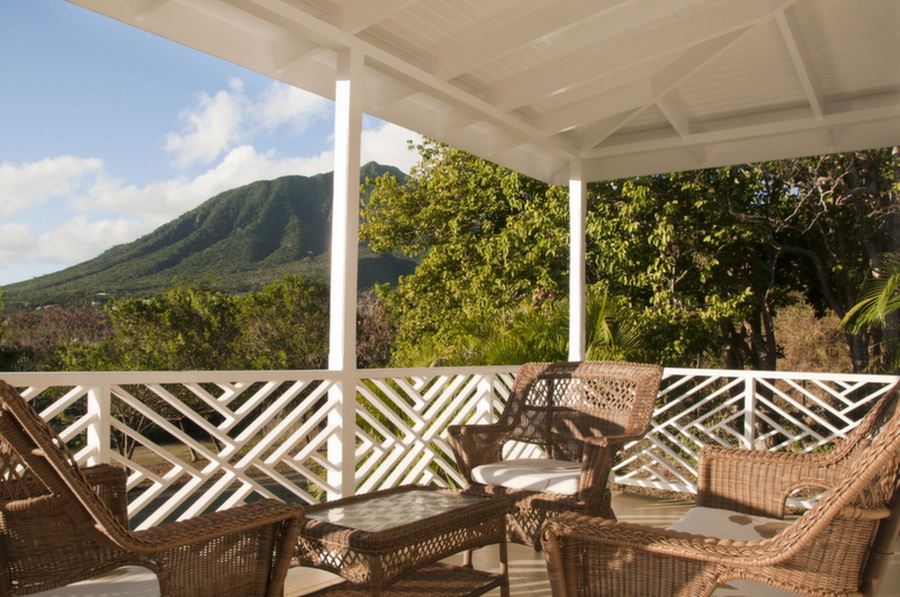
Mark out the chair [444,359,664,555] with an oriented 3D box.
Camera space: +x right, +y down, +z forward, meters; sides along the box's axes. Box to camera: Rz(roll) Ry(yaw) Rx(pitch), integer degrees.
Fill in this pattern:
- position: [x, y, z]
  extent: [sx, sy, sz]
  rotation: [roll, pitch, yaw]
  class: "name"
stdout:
- position: [0.643, 1.067, 4.580]
  extent: [1.148, 1.358, 1.171]
  rotation: [0, -2, 19]
  class: "chair"
